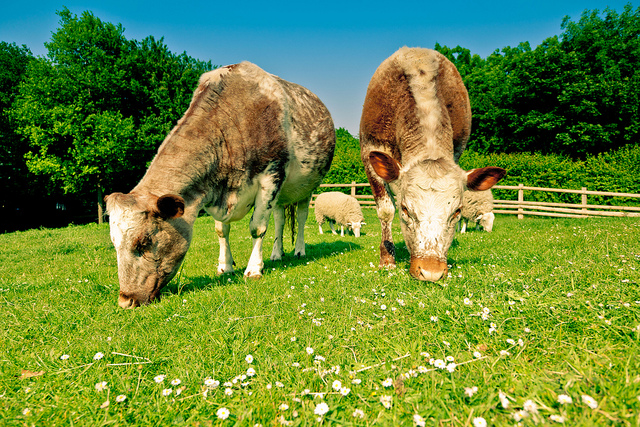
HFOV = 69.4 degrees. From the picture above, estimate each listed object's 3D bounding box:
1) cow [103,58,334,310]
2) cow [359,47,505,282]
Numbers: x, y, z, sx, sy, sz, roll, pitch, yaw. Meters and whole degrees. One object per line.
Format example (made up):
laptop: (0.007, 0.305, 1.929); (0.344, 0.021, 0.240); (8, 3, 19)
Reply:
cow: (-1.949, -0.853, 11.423); (2.719, 5.028, 8.596); (3, 10, 22)
cow: (2.200, -1.206, 9.899); (2.459, 4.872, 2.977); (-2, 9, 4)
